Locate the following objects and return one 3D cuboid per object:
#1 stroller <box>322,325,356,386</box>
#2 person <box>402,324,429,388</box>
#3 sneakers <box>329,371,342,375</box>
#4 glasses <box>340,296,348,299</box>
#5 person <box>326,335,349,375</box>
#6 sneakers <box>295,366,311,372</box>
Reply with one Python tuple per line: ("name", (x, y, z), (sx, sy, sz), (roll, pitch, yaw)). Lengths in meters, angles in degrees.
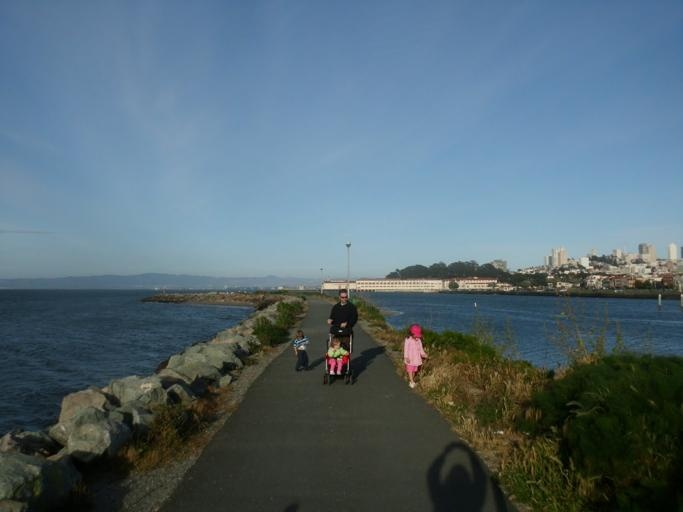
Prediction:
("stroller", (-0.065, 2.660, 13.660), (0.871, 1.681, 1.106), (0, -12, 3))
("person", (1.897, 2.527, 13.575), (0.539, 1.474, 1.835), (0, -3, 8))
("sneakers", (-0.155, 2.995, 13.346), (0.281, 0.136, 0.101), (-5, -7, 26))
("glasses", (0.035, 1.082, 13.889), (0.183, 0.090, 0.125), (1, -3, -19))
("person", (-0.141, 2.560, 13.322), (0.516, 0.941, 0.435), (8, -45, -11))
("sneakers", (-1.109, 3.205, 14.761), (0.230, 0.160, 0.451), (-7, -23, 23))
